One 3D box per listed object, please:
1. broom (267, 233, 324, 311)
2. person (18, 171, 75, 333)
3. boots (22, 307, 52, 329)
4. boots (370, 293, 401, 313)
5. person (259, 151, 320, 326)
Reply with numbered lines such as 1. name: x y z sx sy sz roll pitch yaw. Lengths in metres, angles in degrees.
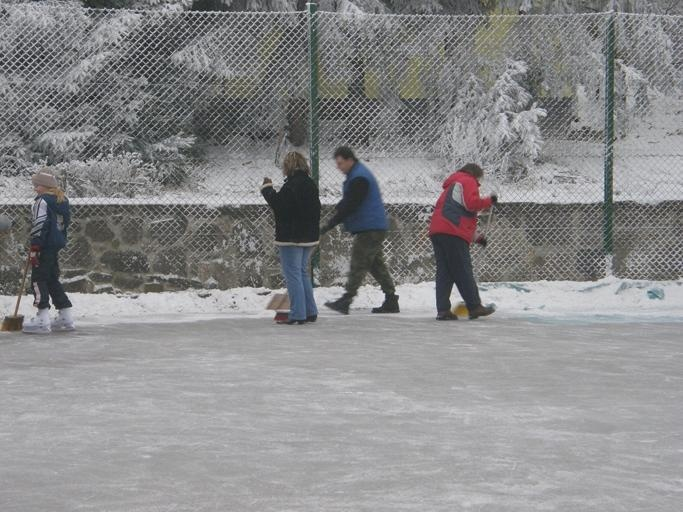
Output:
1. broom: -0.514 0.306 14.661 0.419 0.905 0.369 -4 13 -15
2. person: -3.526 -0.043 14.650 0.606 1.853 0.747 1 3 17
3. boots: -3.571 0.762 14.305 0.360 0.253 0.371 0 12 -1
4. boots: 0.564 0.631 15.598 0.384 0.244 0.178 2 1 -2
5. person: -0.662 -0.227 14.859 0.754 2.089 0.867 1 1 37
